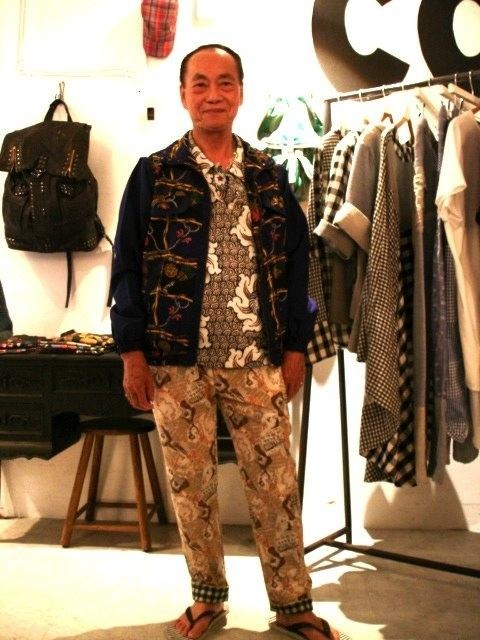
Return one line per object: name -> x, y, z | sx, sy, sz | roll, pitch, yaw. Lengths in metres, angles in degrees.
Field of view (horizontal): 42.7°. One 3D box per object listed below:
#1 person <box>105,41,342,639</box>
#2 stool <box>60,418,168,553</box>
person -> -0.070, 0.034, 1.720 | 0.555, 1.593, 0.215 | -1, 1, 1
stool -> -0.518, 0.685, 2.689 | 0.535, 0.675, 0.520 | -1, -7, 4
